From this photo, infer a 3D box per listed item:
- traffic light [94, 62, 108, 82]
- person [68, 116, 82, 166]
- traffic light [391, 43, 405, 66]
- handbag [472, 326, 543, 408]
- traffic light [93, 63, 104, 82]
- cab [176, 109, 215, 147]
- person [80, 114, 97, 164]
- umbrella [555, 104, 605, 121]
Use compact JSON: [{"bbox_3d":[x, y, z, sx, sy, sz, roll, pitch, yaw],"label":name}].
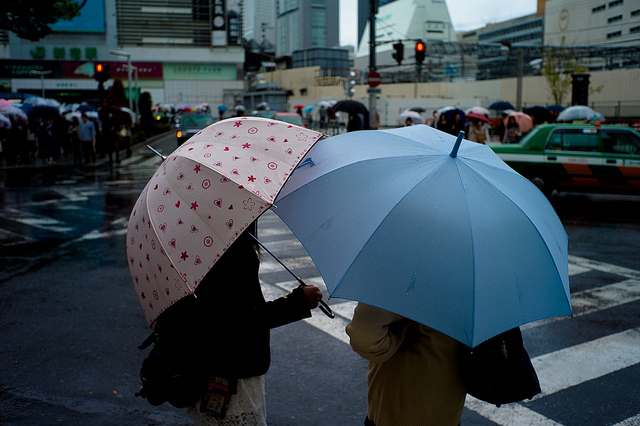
[{"bbox_3d":[-8.533,-5.503,26.528,0.460,0.784,0.873,-8,17,-21],"label":"traffic light"},{"bbox_3d":[-9.786,-2.845,27.242,0.416,1.867,1.036,-6,16,-19],"label":"person"},{"bbox_3d":[3.302,-6.777,28.586,0.419,0.862,1.725,0,18,5],"label":"traffic light"},{"bbox_3d":[1.990,1.402,7.309,0.511,1.132,0.745,-16,31,4],"label":"handbag"},{"bbox_3d":[-8.629,-5.473,26.547,0.317,0.791,0.946,-7,17,-19],"label":"traffic light"},{"bbox_3d":[-6.147,-3.945,34.085,1.952,2.589,4.251,-1,1,-10],"label":"cab"},{"bbox_3d":[-9.455,-3.032,27.717,0.608,2.120,1.260,-7,16,-19],"label":"person"},{"bbox_3d":[9.508,-3.600,24.877,1.375,0.519,0.833,2,18,12],"label":"umbrella"}]
